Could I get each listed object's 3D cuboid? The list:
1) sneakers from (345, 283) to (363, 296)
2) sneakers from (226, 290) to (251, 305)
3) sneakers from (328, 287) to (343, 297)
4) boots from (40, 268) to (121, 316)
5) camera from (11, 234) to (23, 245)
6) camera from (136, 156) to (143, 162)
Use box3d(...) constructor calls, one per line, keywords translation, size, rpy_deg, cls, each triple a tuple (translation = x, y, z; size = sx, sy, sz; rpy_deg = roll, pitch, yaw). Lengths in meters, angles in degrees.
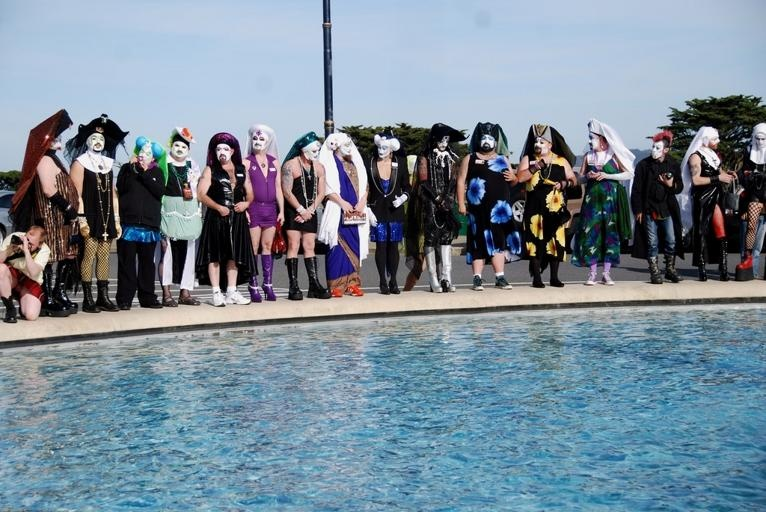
box3d(translation=(-0.376, 0.497, 13.759), size=(0.116, 0.136, 0.313), rpy_deg=(-3, 3, -38), cls="sneakers")
box3d(translation=(-1.967, 0.558, 12.725), size=(0.331, 0.147, 0.167), rpy_deg=(2, 5, 14), cls="sneakers")
box3d(translation=(-0.664, 0.511, 13.431), size=(0.194, 0.091, 0.094), rpy_deg=(-2, 39, 19), cls="sneakers")
box3d(translation=(-3.900, 0.412, 11.847), size=(0.476, 0.703, 0.879), rpy_deg=(4, 10, 21), cls="boots")
box3d(translation=(-4.327, -0.203, 10.987), size=(0.122, 0.126, 0.073), rpy_deg=(-5, 10, -26), cls="camera")
box3d(translation=(-3.167, -1.290, 12.129), size=(0.070, 0.066, 0.018), rpy_deg=(-1, -22, 17), cls="camera")
